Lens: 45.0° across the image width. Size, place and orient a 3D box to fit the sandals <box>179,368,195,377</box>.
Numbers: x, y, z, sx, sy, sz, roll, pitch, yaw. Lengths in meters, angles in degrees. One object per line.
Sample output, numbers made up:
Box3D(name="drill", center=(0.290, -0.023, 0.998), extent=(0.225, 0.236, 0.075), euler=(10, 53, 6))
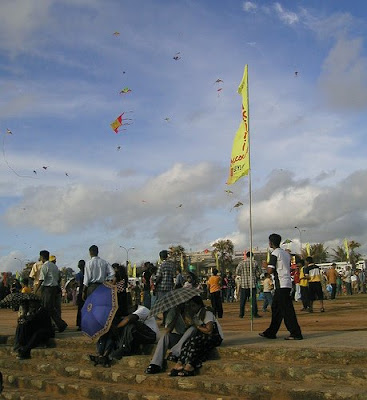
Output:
Box3D(name="sandals", center=(0.051, 2.531, 6.491), extent=(0.242, 0.059, 0.093), euler=(8, -12, -20))

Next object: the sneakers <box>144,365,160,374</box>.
Box3D(name="sneakers", center=(-0.465, 2.585, 6.778), extent=(0.261, 0.096, 0.091), euler=(7, -15, -11))

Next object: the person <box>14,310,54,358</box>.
Box3D(name="person", center=(-3.043, 2.710, 9.045), extent=(0.786, 0.965, 0.471), euler=(-3, -10, -22))

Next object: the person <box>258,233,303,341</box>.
Box3D(name="person", center=(1.723, 1.531, 7.920), extent=(0.546, 1.855, 0.726), euler=(-2, -10, -31))

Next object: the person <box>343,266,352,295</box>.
Box3D(name="person", center=(10.094, 5.028, 27.007), extent=(0.483, 1.475, 1.308), euler=(-10, -9, 18))

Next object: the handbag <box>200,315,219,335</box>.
Box3D(name="handbag", center=(0.398, 1.936, 6.871), extent=(0.324, 0.393, 0.224), euler=(-3, -10, 7))

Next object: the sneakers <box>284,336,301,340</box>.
Box3D(name="sneakers", center=(1.878, 2.356, 7.586), extent=(0.237, 0.060, 0.089), euler=(4, -8, 4))

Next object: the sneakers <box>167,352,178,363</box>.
Box3D(name="sneakers", center=(-0.164, 2.382, 6.741), extent=(0.184, 0.081, 0.109), euler=(10, 1, 41))

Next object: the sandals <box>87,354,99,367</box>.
Box3D(name="sandals", center=(-1.557, 2.689, 7.647), extent=(0.140, 0.314, 0.107), euler=(-18, -35, -18))

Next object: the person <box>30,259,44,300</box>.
Box3D(name="person", center=(-3.535, 1.940, 10.751), extent=(0.196, 0.837, 0.348), euler=(-14, -15, 23))

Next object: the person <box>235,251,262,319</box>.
Box3D(name="person", center=(1.906, 2.515, 13.419), extent=(0.692, 1.890, 0.600), euler=(1, -3, -13))

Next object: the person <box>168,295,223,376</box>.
Box3D(name="person", center=(0.215, 2.050, 6.805), extent=(0.413, 1.117, 1.047), euler=(-15, -12, 41))
